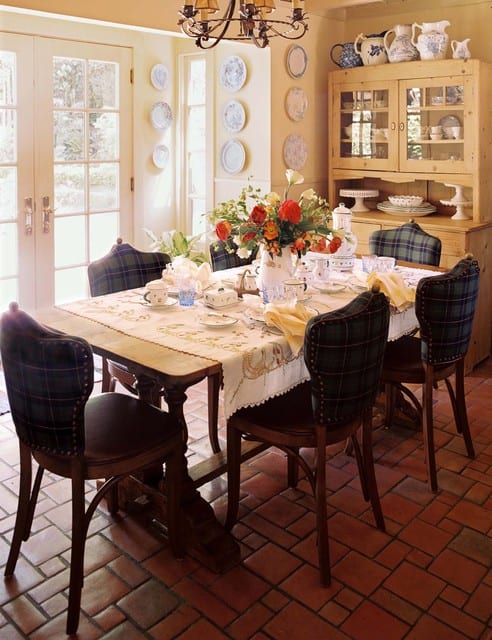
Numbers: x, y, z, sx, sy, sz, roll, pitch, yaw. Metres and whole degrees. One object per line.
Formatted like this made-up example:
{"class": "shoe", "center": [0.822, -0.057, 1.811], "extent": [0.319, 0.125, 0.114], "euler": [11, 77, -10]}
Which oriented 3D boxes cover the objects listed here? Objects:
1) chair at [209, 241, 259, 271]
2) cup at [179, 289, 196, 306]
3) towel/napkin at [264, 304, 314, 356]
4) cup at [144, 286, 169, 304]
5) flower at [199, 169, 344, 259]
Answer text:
{"class": "chair", "center": [-0.047, -0.354, 2.966], "extent": [0.209, 0.234, 0.185], "euler": [-12, 28, -32]}
{"class": "cup", "center": [-0.232, -0.088, 2.046], "extent": [0.064, 0.055, 0.060], "euler": [0, 7, 0]}
{"class": "towel/napkin", "center": [0.128, 0.013, 1.704], "extent": [0.173, 0.069, 0.175], "euler": [21, 24, 35]}
{"class": "cup", "center": [-0.352, -0.095, 2.034], "extent": [0.080, 0.051, 0.059], "euler": [-6, 12, -31]}
{"class": "flower", "center": [0.158, -0.448, 2.119], "extent": [0.458, 0.254, 0.343], "euler": [6, 17, 20]}
